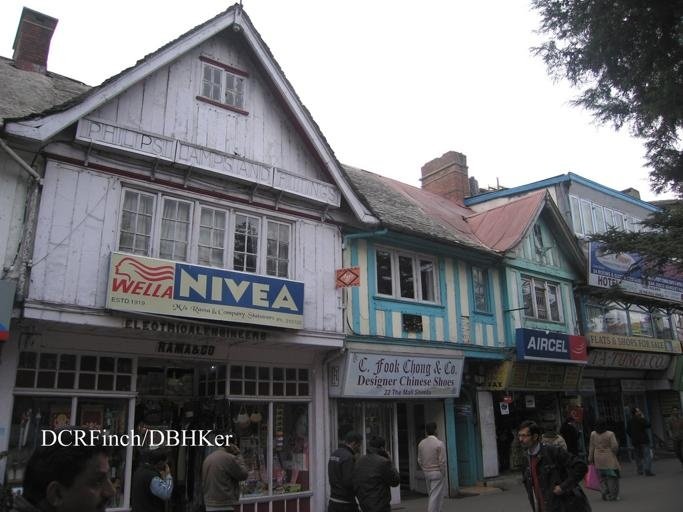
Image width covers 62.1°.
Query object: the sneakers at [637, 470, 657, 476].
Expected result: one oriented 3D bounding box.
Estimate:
[{"bbox_3d":[9.309,6.677,17.275,0.498,0.211,0.185,11,-20,14],"label":"sneakers"}]
